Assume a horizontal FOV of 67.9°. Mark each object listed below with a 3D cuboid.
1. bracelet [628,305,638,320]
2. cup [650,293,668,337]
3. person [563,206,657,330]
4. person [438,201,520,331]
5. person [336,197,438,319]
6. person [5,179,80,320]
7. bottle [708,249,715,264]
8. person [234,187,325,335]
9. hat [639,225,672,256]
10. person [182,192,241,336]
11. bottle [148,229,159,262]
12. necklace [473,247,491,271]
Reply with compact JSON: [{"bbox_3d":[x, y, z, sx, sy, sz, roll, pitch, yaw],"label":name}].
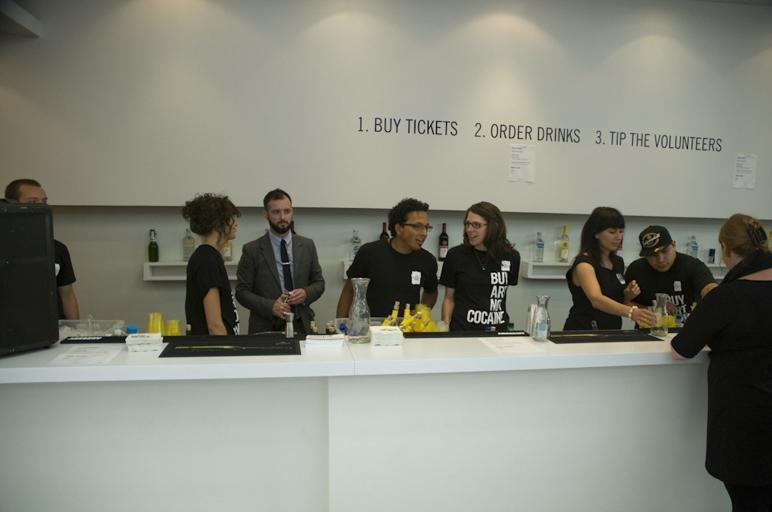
[{"bbox_3d":[1.654,0.374,3.768,0.030,0.080,0.080,18,-15,10],"label":"bracelet"},{"bbox_3d":[1.785,0.390,3.727,0.088,0.270,0.154,1,3,23],"label":"cup"},{"bbox_3d":[1.577,0.117,4.081,0.496,0.920,0.663,0,3,10],"label":"person"},{"bbox_3d":[0.696,0.088,4.247,0.584,0.943,0.223,0,3,11],"label":"person"},{"bbox_3d":[0.059,0.022,4.306,0.691,0.860,0.368,0,3,0],"label":"person"},{"bbox_3d":[-2.518,-0.032,4.223,0.426,1.050,1.134,-2,3,-29],"label":"person"},{"bbox_3d":[3.210,0.016,5.630,0.078,0.128,0.130,0,1,11],"label":"bottle"},{"bbox_3d":[-0.780,0.120,4.276,0.659,0.929,0.394,-1,3,-15],"label":"person"},{"bbox_3d":[1.971,-0.127,4.177,0.171,0.141,0.243,-25,11,45],"label":"hat"},{"bbox_3d":[-1.150,0.062,3.800,0.354,0.931,0.333,-1,3,-15],"label":"person"},{"bbox_3d":[-2.047,-0.086,5.056,0.084,0.284,0.072,-1,3,-17],"label":"bottle"},{"bbox_3d":[0.708,0.031,4.244,0.109,0.135,0.133,-3,31,2],"label":"necklace"}]
